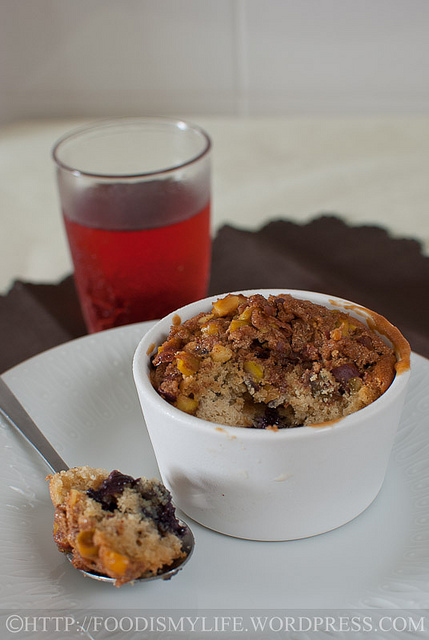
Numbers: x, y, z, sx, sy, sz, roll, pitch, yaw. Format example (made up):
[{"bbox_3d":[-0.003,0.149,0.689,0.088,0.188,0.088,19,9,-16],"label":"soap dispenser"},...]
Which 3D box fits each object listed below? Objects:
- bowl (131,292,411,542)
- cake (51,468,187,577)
[{"bbox_3d":[0.129,0.175,1.338,0.574,0.322,0.540,-4,29,2],"label":"bowl"},{"bbox_3d":[-0.180,0.368,1.172,0.250,0.104,0.303,13,5,-17],"label":"cake"}]
